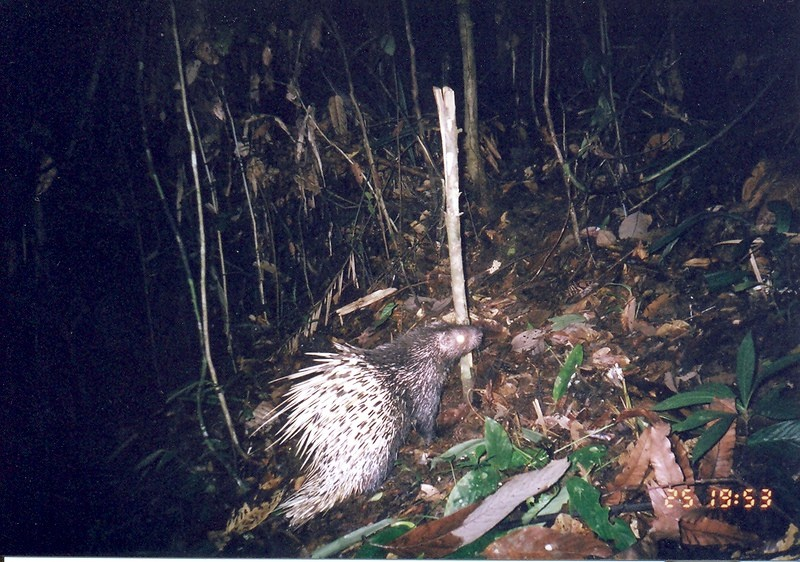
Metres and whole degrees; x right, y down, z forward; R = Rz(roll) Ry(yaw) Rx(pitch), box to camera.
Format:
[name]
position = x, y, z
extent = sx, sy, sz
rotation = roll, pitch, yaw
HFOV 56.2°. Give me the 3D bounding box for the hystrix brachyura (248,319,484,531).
[hystrix brachyura]
position = -0.073, 0.379, 2.400
extent = 0.827, 0.490, 0.333
rotation = -27, 23, 7
